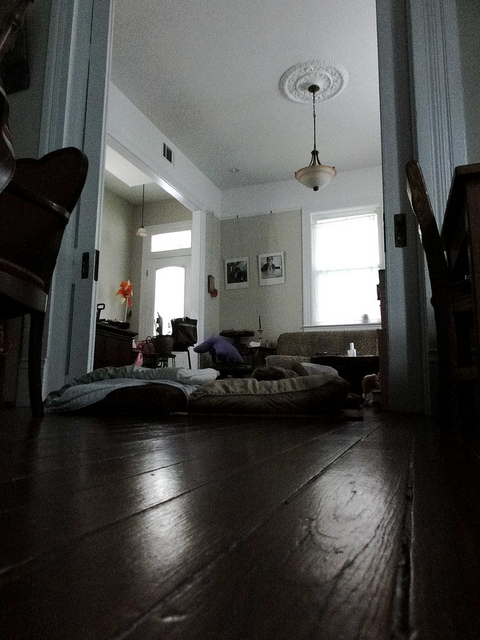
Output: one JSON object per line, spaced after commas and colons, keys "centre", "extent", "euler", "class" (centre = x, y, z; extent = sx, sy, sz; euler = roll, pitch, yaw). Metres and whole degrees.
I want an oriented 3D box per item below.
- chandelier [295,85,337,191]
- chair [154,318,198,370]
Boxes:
{"centre": [1.098, -2.534, 6.006], "extent": [0.599, 1.292, 0.670], "euler": [2, -4, -31], "class": "chandelier"}
{"centre": [-0.967, 0.359, 6.794], "extent": [0.447, 0.938, 0.576], "euler": [9, -4, -33], "class": "chair"}
